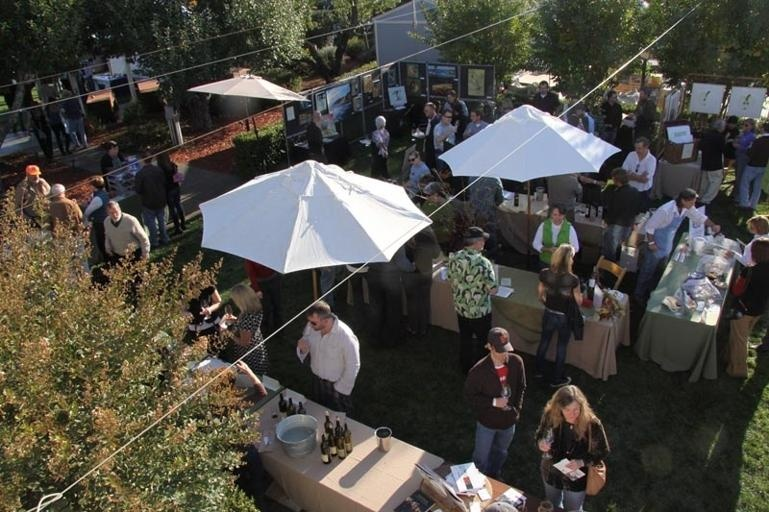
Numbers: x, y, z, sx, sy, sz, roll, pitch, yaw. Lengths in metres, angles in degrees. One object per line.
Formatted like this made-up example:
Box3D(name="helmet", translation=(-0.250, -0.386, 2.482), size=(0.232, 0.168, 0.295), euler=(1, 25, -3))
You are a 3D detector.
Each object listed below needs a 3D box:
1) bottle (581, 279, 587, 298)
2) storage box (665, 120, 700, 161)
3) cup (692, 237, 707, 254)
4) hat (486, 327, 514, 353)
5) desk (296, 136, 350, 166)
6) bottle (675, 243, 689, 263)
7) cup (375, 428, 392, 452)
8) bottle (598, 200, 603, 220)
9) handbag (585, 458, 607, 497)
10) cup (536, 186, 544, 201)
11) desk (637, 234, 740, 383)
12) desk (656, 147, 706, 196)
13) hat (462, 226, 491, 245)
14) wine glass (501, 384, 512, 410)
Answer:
Box3D(name="bottle", translation=(3.057, 0.499, 8.880), size=(0.056, 0.224, 0.138), euler=(11, -5, -28))
Box3D(name="storage box", translation=(6.471, -2.473, 12.701), size=(0.756, 0.834, 0.429), euler=(-20, 27, -25))
Box3D(name="cup", translation=(5.197, -0.161, 9.622), size=(0.189, 0.252, 0.243), euler=(-1, 34, -2))
Box3D(name="hat", translation=(1.370, 1.024, 6.991), size=(0.324, 0.217, 0.237), euler=(20, 30, 38))
Box3D(name="desk", translation=(-1.561, -2.904, 15.797), size=(1.541, 0.936, 0.753), euler=(-5, 9, -37))
Box3D(name="bottle", translation=(4.953, -0.031, 9.682), size=(0.243, 0.077, 0.539), euler=(10, 41, 22))
Box3D(name="cup", translation=(-0.003, 2.223, 7.185), size=(0.193, 0.266, 0.252), euler=(-2, 24, 1))
Box3D(name="bottle", translation=(3.997, -0.817, 10.742), size=(0.121, 0.383, 0.104), euler=(-3, 3, 15))
Box3D(name="handbag", translation=(2.437, 2.587, 6.692), size=(0.261, 0.514, 0.140), euler=(-14, 26, -8))
Box3D(name="cup", translation=(3.069, -1.220, 11.505), size=(0.181, 0.252, 0.204), euler=(5, 18, 14))
Box3D(name="desk", translation=(4.759, 0.866, 9.034), size=(0.841, 0.668, 2.293), euler=(13, 59, 30))
Box3D(name="desk", translation=(6.544, -1.853, 12.819), size=(0.833, 0.724, 0.870), euler=(21, 39, 41))
Box3D(name="hat", translation=(1.339, -0.305, 8.383), size=(0.216, 0.261, 0.413), euler=(12, 36, 36))
Box3D(name="wine glass", translation=(1.505, 1.731, 7.131), size=(0.138, 0.350, 0.080), euler=(-19, 28, -20))
